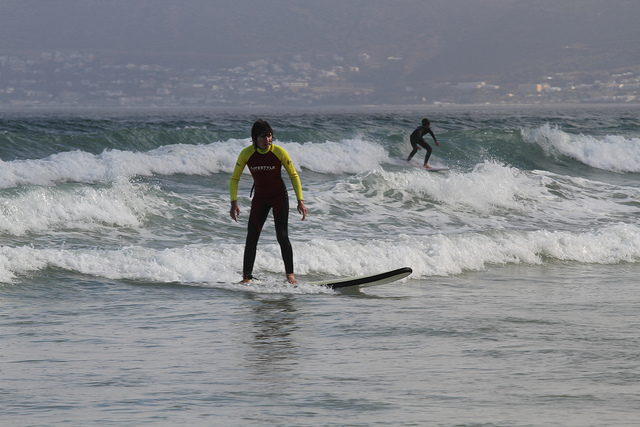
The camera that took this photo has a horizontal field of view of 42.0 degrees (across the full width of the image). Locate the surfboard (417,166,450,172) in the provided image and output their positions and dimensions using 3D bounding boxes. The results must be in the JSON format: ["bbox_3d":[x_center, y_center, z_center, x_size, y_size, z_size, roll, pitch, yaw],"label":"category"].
[{"bbox_3d":[3.396,-1.341,25.349,1.293,0.144,0.256,-1,12,-27],"label":"surfboard"}]

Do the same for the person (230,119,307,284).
[{"bbox_3d":[-0.827,-0.158,12.814,1.136,2.616,0.610,3,21,-5],"label":"person"}]

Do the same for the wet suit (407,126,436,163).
[{"bbox_3d":[3.280,-2.247,27.174,0.775,1.146,1.474,6,17,5],"label":"wet suit"}]

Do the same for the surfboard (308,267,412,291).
[{"bbox_3d":[0.647,1.016,13.255,1.541,0.346,0.279,-2,19,-14],"label":"surfboard"}]
